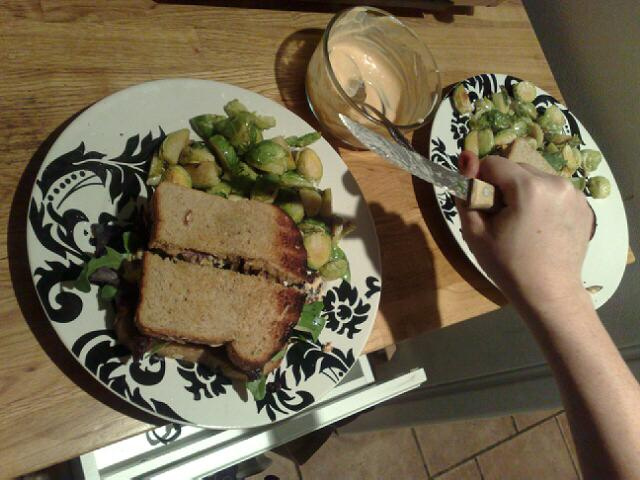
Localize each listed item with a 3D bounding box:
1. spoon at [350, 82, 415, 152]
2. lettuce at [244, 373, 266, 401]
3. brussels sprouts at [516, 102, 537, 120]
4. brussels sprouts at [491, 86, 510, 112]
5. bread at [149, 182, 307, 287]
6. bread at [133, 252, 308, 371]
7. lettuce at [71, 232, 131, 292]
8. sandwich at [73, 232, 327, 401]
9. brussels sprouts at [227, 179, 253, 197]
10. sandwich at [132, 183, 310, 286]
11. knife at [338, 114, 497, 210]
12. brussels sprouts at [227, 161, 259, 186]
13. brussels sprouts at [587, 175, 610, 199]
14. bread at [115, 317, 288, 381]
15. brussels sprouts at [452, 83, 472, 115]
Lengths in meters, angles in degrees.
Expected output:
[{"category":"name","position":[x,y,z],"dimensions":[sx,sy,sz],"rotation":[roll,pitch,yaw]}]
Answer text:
[{"category":"spoon","position":[0.203,-0.406,1.898],"dimensions":[0.065,0.048,0.296],"rotation":[-36,88,-28]},{"category":"lettuce","position":[-0.190,0.448,1.764],"dimensions":[0.054,0.025,0.085],"rotation":[-9,90,-9]},{"category":"brussels sprouts","position":[0.801,-0.499,2.251],"dimensions":[0.074,0.021,0.061],"rotation":[42,71,10]},{"category":"brussels sprouts","position":[0.700,-0.540,2.222],"dimensions":[0.088,0.032,0.074],"rotation":[21,72,-55]},{"category":"bread","position":[-0.303,0.001,1.889],"dimensions":[0.443,0.113,0.275],"rotation":[18,64,-18]},{"category":"bread","position":[-0.310,0.224,1.787],"dimensions":[0.436,0.117,0.306],"rotation":[29,71,-18]},{"category":"lettuce","position":[-0.642,0.075,1.703],"dimensions":[0.132,0.126,0.131],"rotation":[-8,38,-19]},{"category":"sandwich","position":[-0.382,0.283,1.833],"dimensions":[0.592,0.151,0.439],"rotation":[22,44,-21]},{"category":"brussels sprouts","position":[-0.258,-0.168,1.876],"dimensions":[0.047,0.056,0.018],"rotation":[-19,29,12]},{"category":"sandwich","position":[-0.306,0.012,1.899],"dimensions":[0.484,0.123,0.292],"rotation":[17,65,-18]},{"category":"knife","position":[0.309,-0.233,1.739],"dimensions":[0.532,0.210,0.084],"rotation":[19,76,-2]},{"category":"brussels sprouts","position":[-0.236,-0.203,1.839],"dimensions":[0.077,0.034,0.082],"rotation":[-41,106,-12]},{"category":"brussels sprouts","position":[1.104,-0.207,2.289],"dimensions":[0.083,0.048,0.071],"rotation":[36,94,-1]},{"category":"bread","position":[-0.414,0.345,1.750],"dimensions":[0.344,0.043,0.225],"rotation":[28,47,1]},{"category":"brussels sprouts","position":[0.526,-0.517,2.144],"dimensions":[0.059,0.028,0.105],"rotation":[-12,85,-33]}]
